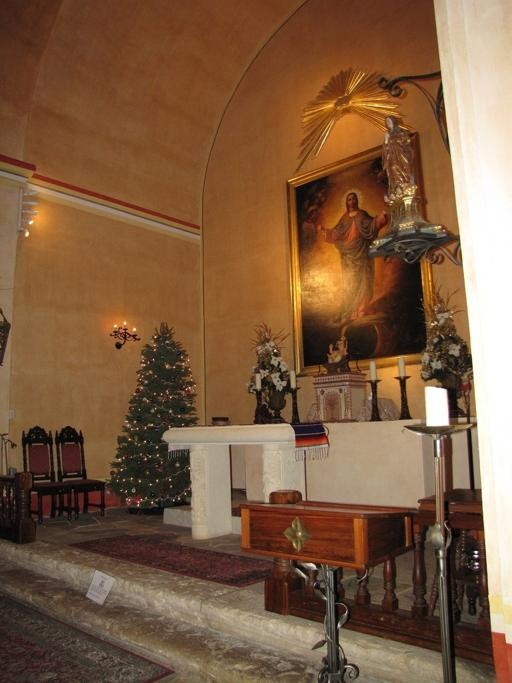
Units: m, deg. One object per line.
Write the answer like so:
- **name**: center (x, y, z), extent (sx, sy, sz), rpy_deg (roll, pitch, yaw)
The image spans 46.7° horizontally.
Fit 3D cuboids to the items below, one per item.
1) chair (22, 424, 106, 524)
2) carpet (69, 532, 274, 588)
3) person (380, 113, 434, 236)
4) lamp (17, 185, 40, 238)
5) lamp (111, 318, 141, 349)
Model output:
- **chair**: center (-2.459, 1.687, 7.478), extent (0.837, 1.311, 0.964), rpy_deg (-24, -23, 38)
- **carpet**: center (-0.603, 1.673, 4.616), extent (0.842, 0.027, 2.211), rpy_deg (6, -11, -42)
- **person**: center (0.940, -1.117, 3.825), extent (0.242, 1.011, 0.609), rpy_deg (-4, -9, 13)
- **lamp**: center (-3.139, -1.818, 8.189), extent (0.254, 0.759, 0.313), rpy_deg (1, -9, -19)
- **lamp**: center (-2.076, -0.125, 9.336), extent (0.170, 0.313, 0.475), rpy_deg (-14, -12, 25)
